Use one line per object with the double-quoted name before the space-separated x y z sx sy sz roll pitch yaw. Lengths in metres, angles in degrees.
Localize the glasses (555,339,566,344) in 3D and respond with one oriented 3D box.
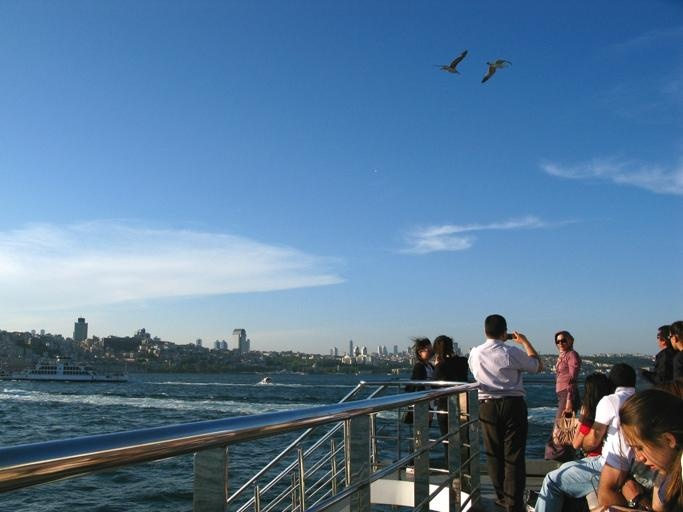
"glasses" 2.625 1.027 7.233 0.058 0.059 0.026 -10 -8 1
